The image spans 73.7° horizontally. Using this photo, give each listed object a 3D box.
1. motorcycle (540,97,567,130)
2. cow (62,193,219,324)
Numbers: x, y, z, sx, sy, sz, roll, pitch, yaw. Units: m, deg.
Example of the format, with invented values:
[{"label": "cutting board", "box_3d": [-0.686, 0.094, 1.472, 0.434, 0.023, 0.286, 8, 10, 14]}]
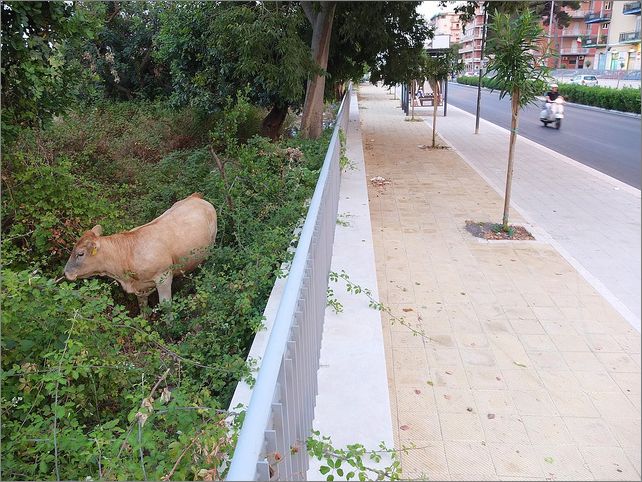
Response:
[{"label": "motorcycle", "box_3d": [12.491, -6.934, 22.999, 0.982, 1.520, 1.691, 6, 24, 8]}, {"label": "cow", "box_3d": [-2.817, -0.016, 7.526, 2.971, 1.667, 1.129, -30, 37, -29]}]
